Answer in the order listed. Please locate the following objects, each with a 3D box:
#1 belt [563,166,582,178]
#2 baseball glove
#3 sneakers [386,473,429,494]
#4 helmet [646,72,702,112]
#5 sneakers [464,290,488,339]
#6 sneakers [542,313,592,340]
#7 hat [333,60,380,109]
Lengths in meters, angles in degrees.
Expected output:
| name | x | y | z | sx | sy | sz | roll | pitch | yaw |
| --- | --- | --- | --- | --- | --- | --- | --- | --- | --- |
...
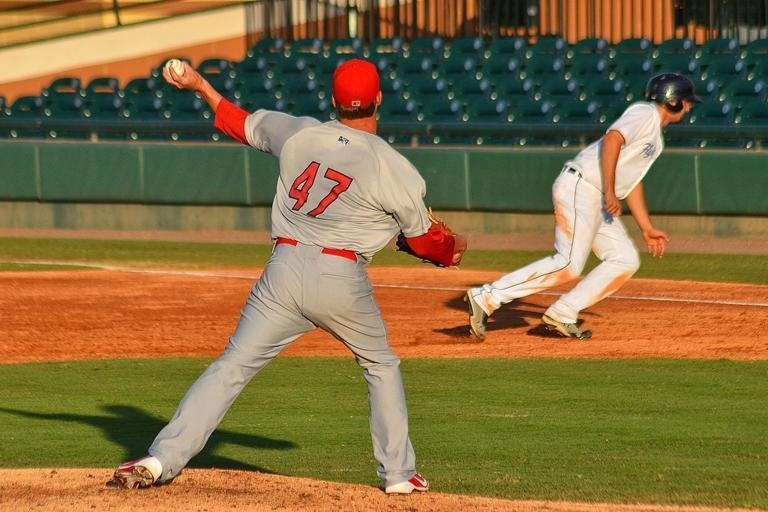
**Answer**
| name | x | y | z | sx | sy | sz | roll | pitch | yaw |
| --- | --- | --- | --- | --- | --- | --- | --- | --- | --- |
| belt | 2.114 | -0.937 | 17.988 | 0.138 | 0.038 | 0.138 | 7 | -11 | 38 |
| baseball glove | 0.418 | -0.164 | 15.845 | 0.696 | 0.483 | 0.345 | 29 | 5 | -10 |
| sneakers | 0.240 | 2.233 | 15.631 | 0.426 | 0.169 | 0.169 | -6 | 6 | -23 |
| helmet | 3.280 | -1.844 | 18.056 | 0.570 | 0.348 | 0.383 | 3 | 2 | -6 |
| sneakers | 1.064 | 0.683 | 18.322 | 0.305 | 0.587 | 0.213 | -12 | 9 | 5 |
| sneakers | 2.073 | 0.830 | 18.325 | 0.406 | 0.193 | 0.136 | 21 | 18 | -17 |
| hat | -0.278 | -1.652 | 15.596 | 0.447 | 0.492 | 0.224 | -1 | 5 | -2 |
